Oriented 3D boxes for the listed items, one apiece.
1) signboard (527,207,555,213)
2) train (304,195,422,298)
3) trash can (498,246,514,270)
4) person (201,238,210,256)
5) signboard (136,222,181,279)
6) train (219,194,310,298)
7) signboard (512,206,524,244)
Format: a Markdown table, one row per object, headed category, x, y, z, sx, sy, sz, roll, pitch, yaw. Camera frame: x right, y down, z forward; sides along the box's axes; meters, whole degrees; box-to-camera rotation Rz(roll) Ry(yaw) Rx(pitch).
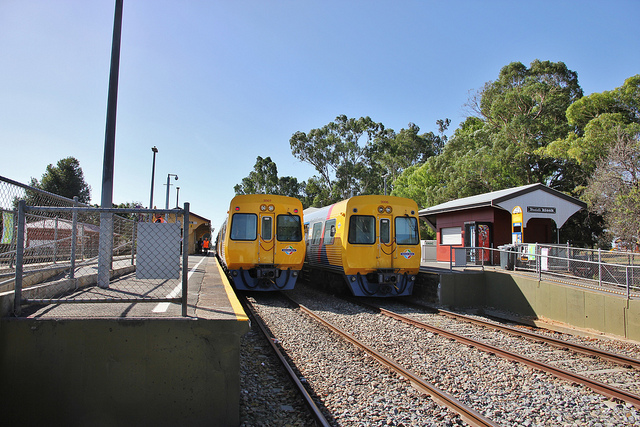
| category | x | y | z | sx | sy | sz | roll | pitch | yaw |
| --- | --- | --- | --- | --- | --- | --- | --- | --- | --- |
| signboard | 11.456 | -0.204 | 21.473 | 1.775 | 0.271 | 0.141 | 1 | 4 | -21 |
| train | 0.800 | 1.777 | 19.676 | 2.842 | 3.854 | 10.376 | 2 | -8 | -16 |
| trash can | 7.484 | 1.785 | 16.588 | 0.753 | 1.075 | 0.666 | 5 | -10 | -15 |
| person | -12.067 | 3.307 | 43.322 | 0.643 | 1.399 | 1.440 | 0 | 4 | -20 |
| signboard | -2.509 | 0.571 | 6.371 | 0.789 | 1.090 | 0.020 | 1 | -9 | -12 |
| train | -2.049 | 1.105 | 15.210 | 2.786 | 3.592 | 1.050 | 1 | 3 | -13 |
| signboard | 8.506 | 0.473 | 17.784 | 0.340 | 1.538 | 0.702 | 1 | 3 | -6 |
